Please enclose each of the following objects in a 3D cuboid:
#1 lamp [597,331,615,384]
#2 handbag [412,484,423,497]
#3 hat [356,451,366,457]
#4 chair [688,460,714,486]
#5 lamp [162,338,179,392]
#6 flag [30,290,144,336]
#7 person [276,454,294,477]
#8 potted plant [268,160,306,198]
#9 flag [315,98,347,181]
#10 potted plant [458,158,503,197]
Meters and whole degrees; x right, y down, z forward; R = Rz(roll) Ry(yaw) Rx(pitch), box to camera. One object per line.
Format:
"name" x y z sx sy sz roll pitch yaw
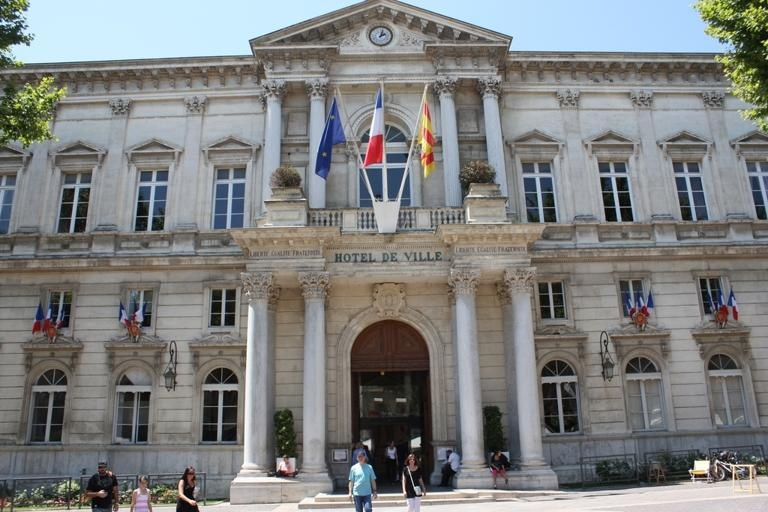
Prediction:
"lamp" 11.935 5.353 38.751 0.740 2.718 0.952 -7 -18 16
"handbag" 1.274 9.206 28.124 0.421 0.378 0.109 3 -31 -29
"hat" -0.943 7.801 27.961 0.279 0.262 0.351 0 -28 -1
"chair" 15.645 10.686 35.732 0.970 1.014 1.322 -3 -16 6
"lamp" -11.456 5.819 38.370 0.687 2.762 0.922 3 -18 -15
"flag" -16.358 3.534 39.042 3.473 1.843 2.974 -8 -18 21
"person" -4.902 10.237 34.938 0.949 0.841 0.452 3 -33 -9
"potted plant" -4.970 -4.008 38.005 2.220 2.070 2.129 4 -8 -19
"flag" -2.905 -6.377 37.826 1.607 4.344 0.967 -17 -23 40
"potted plant" 5.018 -4.331 38.715 2.014 1.843 1.934 4 -15 -14
